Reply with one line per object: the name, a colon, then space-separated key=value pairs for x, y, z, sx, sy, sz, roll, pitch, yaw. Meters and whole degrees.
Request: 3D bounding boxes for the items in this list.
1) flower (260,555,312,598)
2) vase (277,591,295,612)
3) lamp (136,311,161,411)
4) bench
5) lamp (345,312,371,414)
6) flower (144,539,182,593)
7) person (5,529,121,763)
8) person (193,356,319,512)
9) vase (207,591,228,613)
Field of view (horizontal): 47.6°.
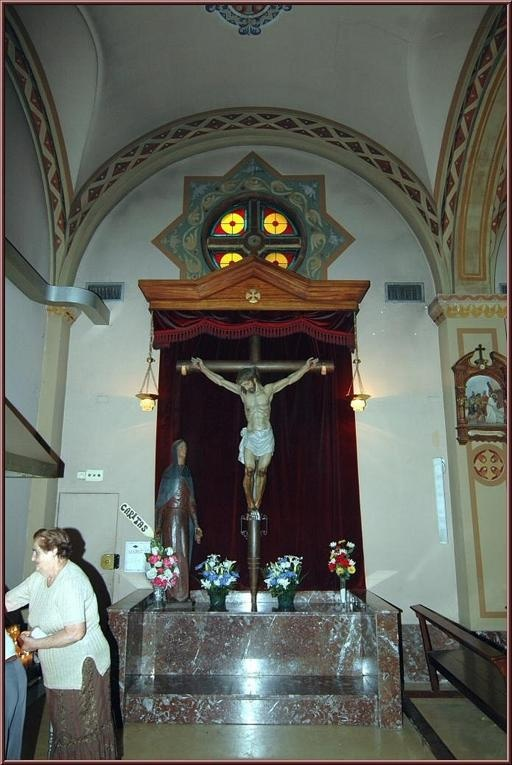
flower: x=0.230 y=1.554 z=4.797 sx=0.376 sy=0.427 sz=0.367 roll=1 pitch=2 yaw=18
vase: x=0.239 y=1.747 z=4.641 sx=0.143 sy=0.170 sz=0.148 roll=-1 pitch=-16 yaw=2
lamp: x=-1.075 y=-0.242 z=5.774 sx=0.218 sy=1.073 sz=0.613 roll=1 pitch=-13 yaw=-12
bench: x=1.464 y=2.074 z=4.173 sx=0.406 sy=0.714 sz=1.138 roll=0 pitch=-5 yaw=-3
lamp: x=0.991 y=-0.246 z=5.718 sx=0.205 sy=1.087 sz=0.702 roll=-4 pitch=-13 yaw=11
flower: x=-0.752 y=1.500 z=4.747 sx=0.242 sy=0.413 sz=0.317 roll=0 pitch=-13 yaw=-6
person: x=-0.836 y=1.110 z=2.460 sx=0.495 sy=0.958 sz=0.370 roll=2 pitch=-13 yaw=-13
person: x=-0.004 y=0.539 z=5.490 sx=1.349 sy=1.615 sz=0.363 roll=1 pitch=-16 yaw=-6
vase: x=-0.308 y=1.752 z=4.647 sx=0.158 sy=0.131 sz=0.151 roll=0 pitch=-15 yaw=1
